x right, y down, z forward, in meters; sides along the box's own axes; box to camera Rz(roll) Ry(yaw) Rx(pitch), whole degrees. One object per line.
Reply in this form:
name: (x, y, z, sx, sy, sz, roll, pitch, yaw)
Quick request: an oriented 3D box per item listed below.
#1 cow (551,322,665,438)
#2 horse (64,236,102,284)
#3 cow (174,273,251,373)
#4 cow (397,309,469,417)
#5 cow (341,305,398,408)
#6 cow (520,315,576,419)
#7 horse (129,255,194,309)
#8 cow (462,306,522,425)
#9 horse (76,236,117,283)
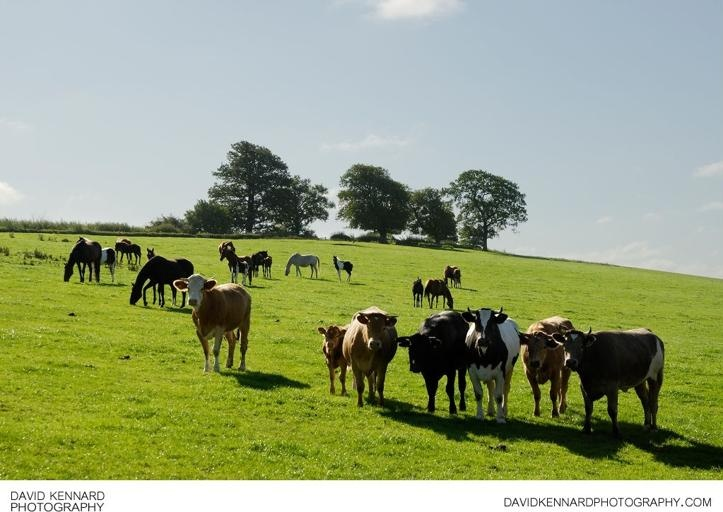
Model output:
cow: (7.860, 3.788, 20.866, 5.471, 3.282, 1.427, 9, -6, -36)
horse: (-15.645, 0.335, 37.991, 0.960, 2.654, 3.818, 5, 6, 6)
cow: (-5.091, 2.296, 23.791, 2.228, 3.439, 2.483, 2, 8, -15)
cow: (2.522, 3.520, 21.971, 2.184, 2.879, 1.609, 1, 8, -28)
cow: (0.203, 3.219, 21.419, 1.502, 3.055, 2.000, 6, 8, 16)
cow: (6.219, 3.804, 22.916, 1.248, 3.078, 5.328, -3, -4, 21)
horse: (-9.861, 1.313, 33.438, 1.015, 2.659, 3.906, 12, 11, 33)
cow: (4.116, 3.391, 21.578, 1.597, 3.541, 2.582, 8, 8, 25)
horse: (-15.904, 0.355, 40.137, 0.831, 2.470, 3.521, 2, -3, 27)
